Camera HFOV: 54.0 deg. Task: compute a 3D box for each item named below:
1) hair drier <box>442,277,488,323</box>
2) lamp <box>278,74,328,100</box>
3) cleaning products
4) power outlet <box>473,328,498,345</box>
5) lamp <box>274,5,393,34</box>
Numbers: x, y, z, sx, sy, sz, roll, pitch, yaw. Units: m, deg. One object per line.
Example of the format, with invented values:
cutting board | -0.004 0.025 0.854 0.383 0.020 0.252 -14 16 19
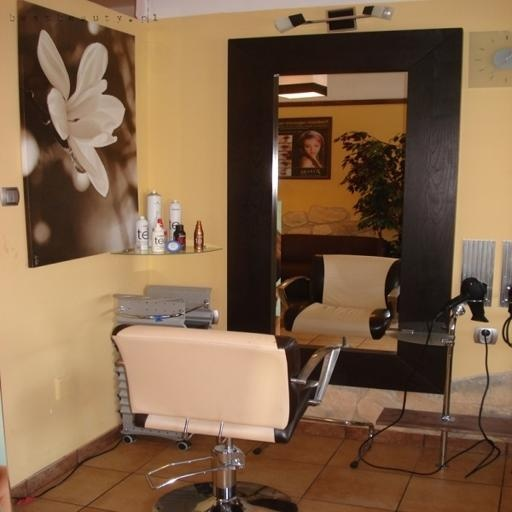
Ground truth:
hair drier | 1.005 0.218 2.412 0.229 0.232 0.130 6 -4 -29
lamp | 0.249 -0.919 2.737 0.177 0.176 0.044 4 -1 16
cleaning products | -0.452 -0.134 2.760 0.364 0.375 0.330 0 0 -30
power outlet | 1.210 0.420 2.640 0.128 0.091 0.036 2 0 21
lamp | 0.386 -1.181 2.572 0.526 0.098 0.212 1 30 20
